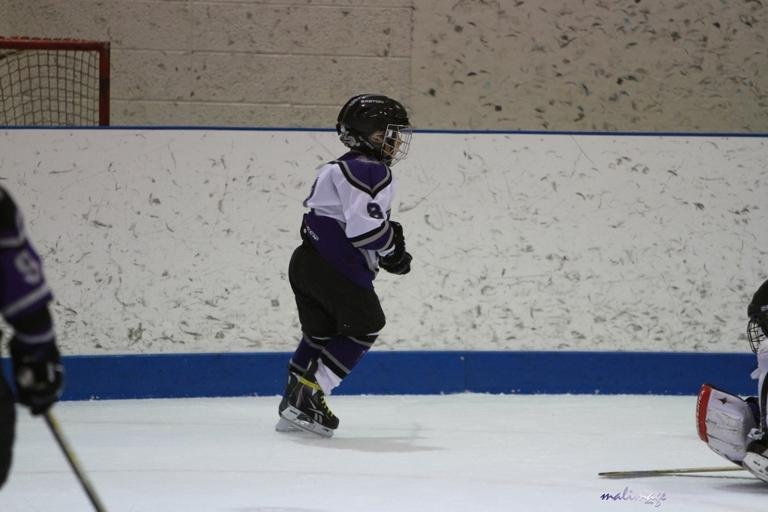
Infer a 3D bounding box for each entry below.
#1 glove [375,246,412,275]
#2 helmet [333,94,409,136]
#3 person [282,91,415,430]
[{"bbox_3d":[0.056,0.023,4.755,0.154,0.127,0.124,6,4,-5],"label":"glove"},{"bbox_3d":[-0.071,-0.733,4.738,0.296,0.199,0.216,-10,11,-8],"label":"helmet"},{"bbox_3d":[-0.205,0.034,4.718,0.670,1.726,0.397,0,7,1],"label":"person"}]
